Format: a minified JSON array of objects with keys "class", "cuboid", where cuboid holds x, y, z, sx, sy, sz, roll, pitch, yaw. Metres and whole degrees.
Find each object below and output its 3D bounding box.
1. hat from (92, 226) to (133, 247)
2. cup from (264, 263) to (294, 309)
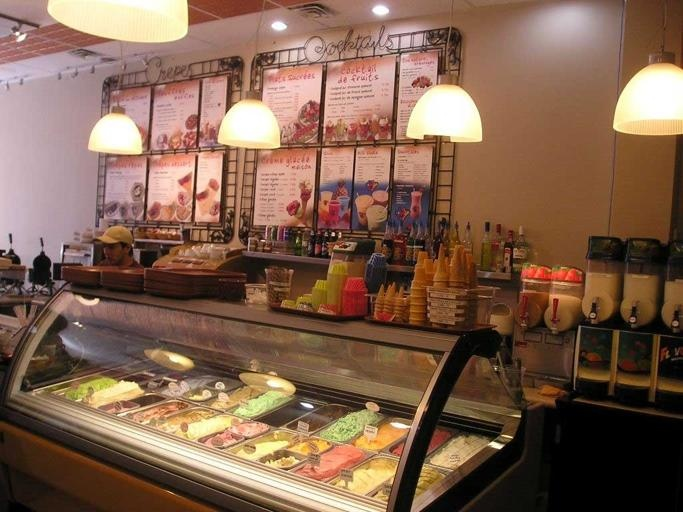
[{"class":"hat","cuboid":[-2.024,-0.177,4.635,0.289,0.150,0.208,4,-1,-30]},{"class":"cup","cuboid":[-0.313,0.162,2.620,0.146,0.187,0.143,3,0,0]}]
